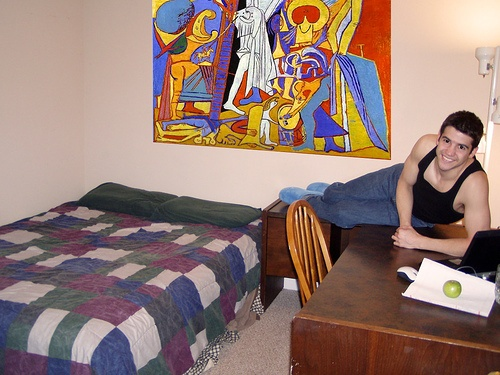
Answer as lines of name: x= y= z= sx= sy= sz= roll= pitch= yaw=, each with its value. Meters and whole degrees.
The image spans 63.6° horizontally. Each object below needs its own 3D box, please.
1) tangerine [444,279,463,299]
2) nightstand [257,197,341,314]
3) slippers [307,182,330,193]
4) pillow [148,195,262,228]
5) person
tangerine: x=0.713 y=0.361 z=1.431 sx=0.056 sy=0.065 sz=0.057 roll=0 pitch=-7 yaw=14
nightstand: x=0.246 y=0.457 z=3.168 sx=0.898 sy=0.906 sz=0.659 roll=-1 pitch=13 yaw=10
slippers: x=0.530 y=-0.002 z=3.185 sx=0.107 sy=0.051 sz=0.105 roll=-5 pitch=5 yaw=-36
pillow: x=-0.351 y=0.200 z=3.176 sx=0.579 sy=0.120 sz=0.341 roll=3 pitch=9 yaw=14
person: x=0.643 y=-0.050 z=2.192 sx=1.157 sy=0.756 sz=0.569 roll=10 pitch=50 yaw=19
